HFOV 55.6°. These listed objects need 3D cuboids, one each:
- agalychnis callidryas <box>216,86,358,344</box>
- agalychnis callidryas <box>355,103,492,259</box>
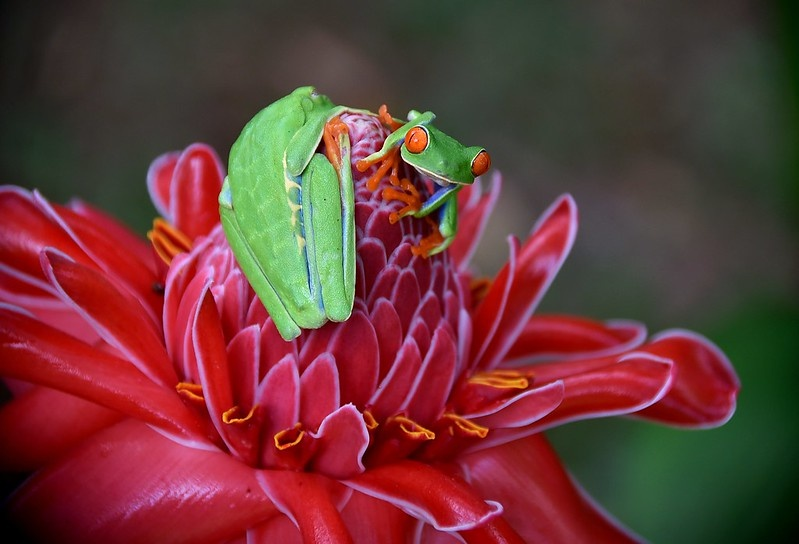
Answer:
[{"bbox_3d":[-0.179,-0.078,1.256,0.246,0.378,0.118,-5,-6,43],"label":"agalychnis callidryas"},{"bbox_3d":[0.056,-0.205,1.325,0.251,0.151,0.193,49,29,-12],"label":"agalychnis callidryas"}]
